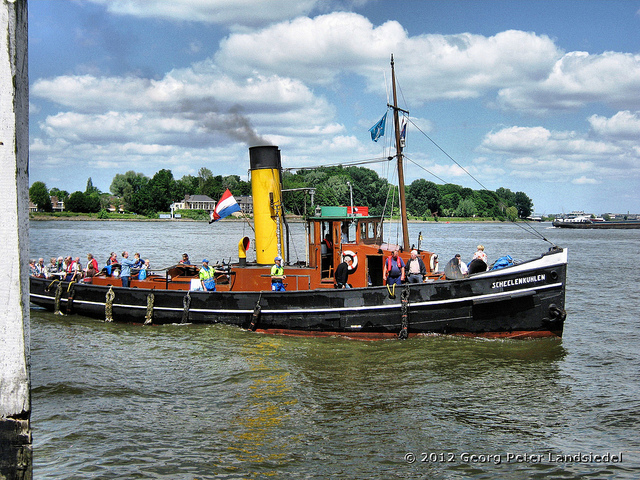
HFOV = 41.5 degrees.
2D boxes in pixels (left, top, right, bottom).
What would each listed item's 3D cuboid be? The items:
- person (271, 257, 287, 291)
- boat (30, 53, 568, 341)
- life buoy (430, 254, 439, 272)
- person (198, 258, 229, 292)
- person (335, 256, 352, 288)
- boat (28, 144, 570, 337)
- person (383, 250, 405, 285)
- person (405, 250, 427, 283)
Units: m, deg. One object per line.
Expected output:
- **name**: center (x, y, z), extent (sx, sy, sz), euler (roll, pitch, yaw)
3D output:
- **person**: center (-1.243, 0.966, 24.948), extent (0.394, 0.976, 0.728), euler (0, -2, -4)
- **boat**: center (-0.032, -1.742, 25.738), extent (13.611, 9.218, 9.591), euler (-2, -3, 44)
- **life buoy**: center (3.430, 0.683, 25.902), extent (0.371, 0.504, 0.201), euler (-2, 1, -23)
- **person**: center (-3.425, 1.109, 27.078), extent (0.325, 1.001, 0.683), euler (-7, 15, 26)
- **person**: center (0.664, 0.910, 24.815), extent (0.447, 0.882, 0.633), euler (0, -2, 14)
- **boat**: center (-2.770, 0.867, 28.968), extent (22.302, 7.451, 6.439), euler (-2, 1, 19)
- **person**: center (2.142, 0.935, 24.183), extent (0.646, 1.387, 0.437), euler (-2, 8, 5)
- **person**: center (2.743, 0.720, 24.412), extent (0.565, 0.929, 0.988), euler (0, -2, 6)
